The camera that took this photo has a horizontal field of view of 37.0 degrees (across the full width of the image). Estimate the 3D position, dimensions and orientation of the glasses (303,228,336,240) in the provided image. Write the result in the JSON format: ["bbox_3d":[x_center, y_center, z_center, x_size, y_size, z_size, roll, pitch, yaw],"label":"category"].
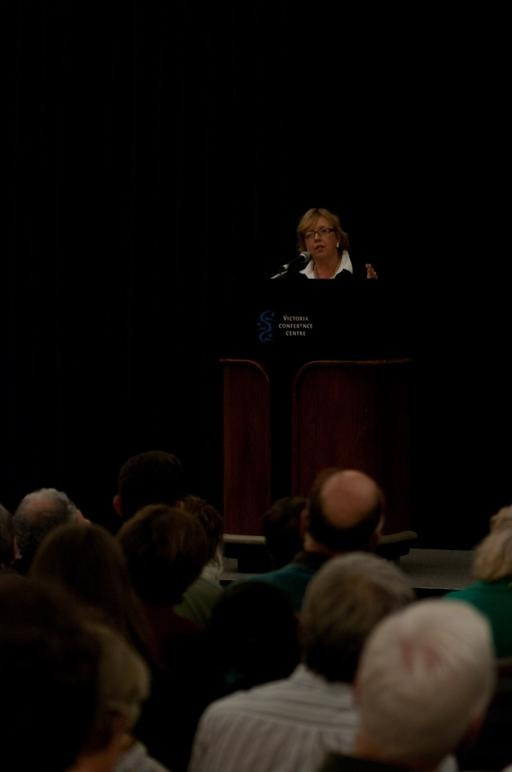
[{"bbox_3d":[0.331,-0.783,3.923,0.150,0.059,0.050,-3,1,4],"label":"glasses"}]

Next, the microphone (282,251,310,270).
[{"bbox_3d":[0.216,-0.625,3.792,0.116,0.110,0.233,-2,2,19],"label":"microphone"}]
